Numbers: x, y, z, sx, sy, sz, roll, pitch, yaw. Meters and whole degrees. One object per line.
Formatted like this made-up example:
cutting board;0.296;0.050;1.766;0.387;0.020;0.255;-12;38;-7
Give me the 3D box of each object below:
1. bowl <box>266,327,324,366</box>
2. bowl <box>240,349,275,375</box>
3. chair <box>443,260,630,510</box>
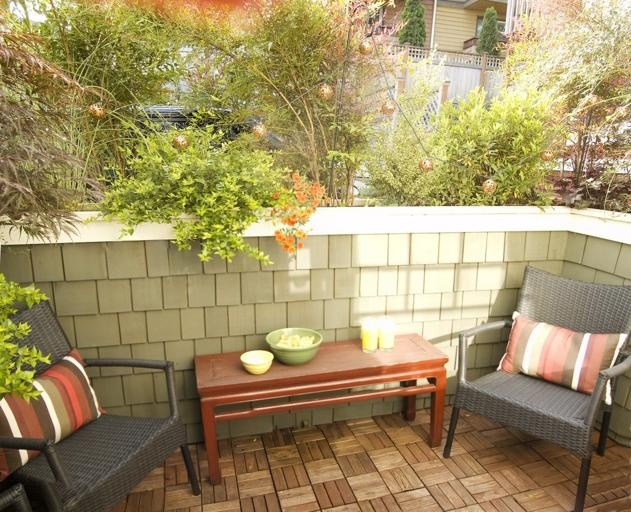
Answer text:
bowl;-0.106;0.491;2.555;0.270;0.089;0.269;-4;-26;-2
bowl;-0.307;0.535;2.434;0.168;0.079;0.225;-1;17;-6
chair;1.094;0.530;2.931;1.154;1.392;1.110;-12;19;-42
